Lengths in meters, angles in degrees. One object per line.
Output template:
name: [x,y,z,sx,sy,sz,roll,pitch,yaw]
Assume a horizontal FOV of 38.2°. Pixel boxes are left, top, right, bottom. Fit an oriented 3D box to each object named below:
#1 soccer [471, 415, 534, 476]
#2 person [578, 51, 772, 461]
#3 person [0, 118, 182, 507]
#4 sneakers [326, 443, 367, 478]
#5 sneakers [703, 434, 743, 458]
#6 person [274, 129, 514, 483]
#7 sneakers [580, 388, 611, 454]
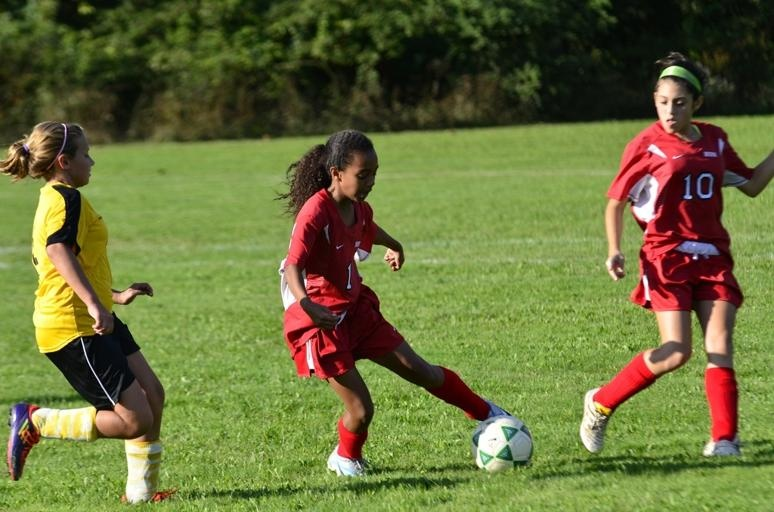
soccer: [1.026,1.589,9.332,0.510,0.502,0.513,-18,-7,15]
person: [2.358,-0.030,9.200,1.403,3.221,0.861,-1,11,17]
person: [-2.458,0.461,8.941,1.196,3.048,0.521,-2,11,9]
sneakers: [-0.339,1.711,9.276,0.324,0.146,0.178,21,28,24]
sneakers: [2.700,1.536,9.044,0.290,0.161,0.116,-2,11,8]
person: [-0.189,0.378,9.146,1.315,2.795,0.766,-8,11,-18]
sneakers: [1.694,1.364,9.367,0.197,0.563,0.259,-5,5,-21]
